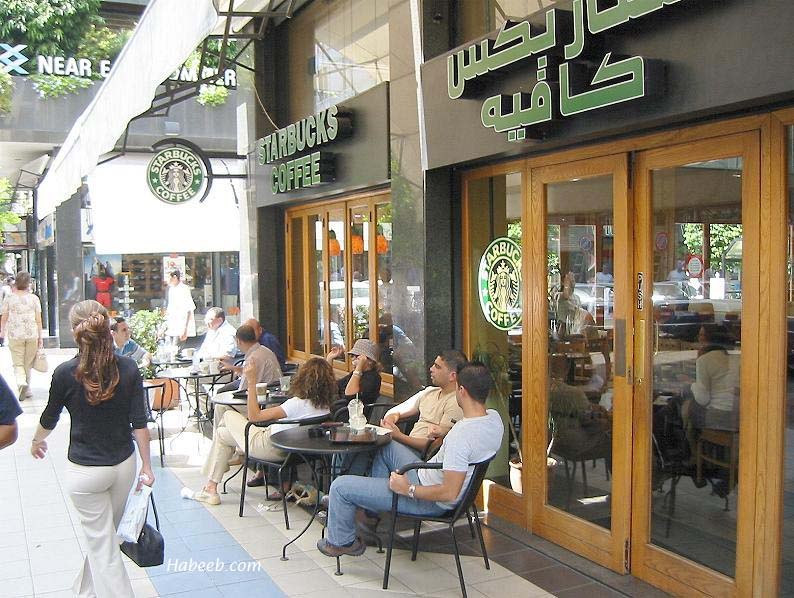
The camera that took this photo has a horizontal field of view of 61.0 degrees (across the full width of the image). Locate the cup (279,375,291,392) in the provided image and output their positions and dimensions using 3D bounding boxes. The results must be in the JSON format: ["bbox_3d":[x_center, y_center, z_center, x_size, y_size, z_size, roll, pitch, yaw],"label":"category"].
[{"bbox_3d":[-1.321,0.991,7.904,0.150,0.242,0.148,2,-2,0],"label":"cup"}]

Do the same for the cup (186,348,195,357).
[{"bbox_3d":[-3.243,0.841,10.540,0.145,0.152,0.154,3,-1,0],"label":"cup"}]

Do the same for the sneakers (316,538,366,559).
[{"bbox_3d":[-0.450,2.024,5.473,0.290,0.126,0.172,5,-4,-13],"label":"sneakers"}]

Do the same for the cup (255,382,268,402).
[{"bbox_3d":[-1.506,1.049,7.482,0.141,0.151,0.179,0,6,-10],"label":"cup"}]

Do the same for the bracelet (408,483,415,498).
[{"bbox_3d":[0.114,1.467,5.147,0.051,0.087,0.076,2,-10,6],"label":"bracelet"}]

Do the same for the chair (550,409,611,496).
[{"bbox_3d":[1.606,1.295,5.890,0.540,0.732,0.546,-3,3,-27],"label":"chair"}]

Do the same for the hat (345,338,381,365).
[{"bbox_3d":[-0.394,0.587,7.826,0.320,0.172,0.231,22,-7,-32],"label":"hat"}]

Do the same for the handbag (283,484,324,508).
[{"bbox_3d":[-0.970,2.045,6.975,0.359,0.160,0.378,7,-1,17],"label":"handbag"}]

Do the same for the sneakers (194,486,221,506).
[{"bbox_3d":[-2.026,2.082,7.184,0.135,0.159,0.369,3,-3,-39],"label":"sneakers"}]
